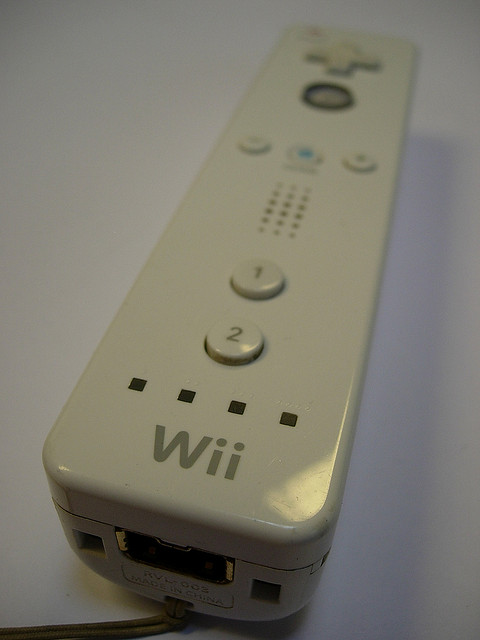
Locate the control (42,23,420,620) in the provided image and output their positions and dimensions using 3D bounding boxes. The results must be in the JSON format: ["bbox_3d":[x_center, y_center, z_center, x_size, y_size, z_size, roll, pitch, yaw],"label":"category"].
[{"bbox_3d":[0.033,-0.041,0.581,0.167,0.136,0.503,13,52,11],"label":"control"}]
